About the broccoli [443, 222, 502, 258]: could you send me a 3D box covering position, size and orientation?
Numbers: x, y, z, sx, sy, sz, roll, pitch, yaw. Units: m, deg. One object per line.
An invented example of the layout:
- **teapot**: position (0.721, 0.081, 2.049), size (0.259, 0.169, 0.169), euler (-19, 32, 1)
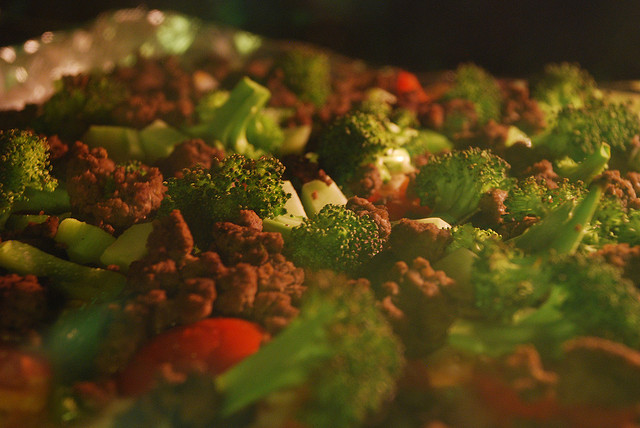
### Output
- **broccoli**: position (0.476, 0.073, 1.916), size (0.121, 0.059, 0.129), euler (9, 41, 16)

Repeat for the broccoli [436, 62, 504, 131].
- **broccoli**: position (0.570, -0.404, 2.280), size (0.218, 0.087, 0.265), euler (-18, 69, -16)

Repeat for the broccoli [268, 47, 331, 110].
- **broccoli**: position (-0.083, -0.538, 2.281), size (0.222, 0.086, 0.234), euler (-43, 93, -4)

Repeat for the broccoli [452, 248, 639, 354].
- **broccoli**: position (0.736, 0.297, 1.994), size (0.463, 0.352, 0.175), euler (-4, 6, -4)

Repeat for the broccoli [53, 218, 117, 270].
- **broccoli**: position (-0.731, 0.078, 1.874), size (0.165, 0.140, 0.077), euler (20, 45, 32)

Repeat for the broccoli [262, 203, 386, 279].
- **broccoli**: position (0.038, 0.078, 1.915), size (0.336, 0.246, 0.172), euler (-14, 48, 31)

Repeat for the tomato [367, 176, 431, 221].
- **tomato**: position (0.274, -0.049, 1.991), size (0.155, 0.082, 0.140), euler (-11, 41, -34)

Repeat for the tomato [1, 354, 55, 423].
- **tomato**: position (-0.887, 0.525, 1.788), size (0.172, 0.187, 0.111), euler (11, 33, -6)

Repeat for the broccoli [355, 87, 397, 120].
- **broccoli**: position (0.193, -0.405, 2.147), size (0.129, 0.046, 0.127), euler (12, 60, -3)

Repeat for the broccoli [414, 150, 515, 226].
- **broccoli**: position (0.467, -0.094, 2.078), size (0.272, 0.280, 0.274), euler (14, -7, -32)

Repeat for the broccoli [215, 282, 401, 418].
- **broccoli**: position (-0.068, 0.468, 1.975), size (0.520, 0.380, 0.270), euler (-22, -1, -15)

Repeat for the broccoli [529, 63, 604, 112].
- **broccoli**: position (0.911, -0.443, 2.261), size (0.214, 0.057, 0.212), euler (34, 69, 4)

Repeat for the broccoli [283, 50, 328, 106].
- **broccoli**: position (-0.067, -0.517, 2.257), size (0.183, 0.202, 0.067), euler (-25, 9, -14)

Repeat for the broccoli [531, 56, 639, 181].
- **broccoli**: position (0.937, -0.347, 2.203), size (0.414, 0.115, 0.410), euler (-19, 68, -2)

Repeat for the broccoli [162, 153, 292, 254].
- **broccoli**: position (-0.289, -0.072, 1.925), size (0.328, 0.159, 0.321), euler (-13, 54, -2)

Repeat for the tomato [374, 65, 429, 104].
- **tomato**: position (0.282, -0.479, 2.265), size (0.212, 0.077, 0.116), euler (39, 47, 6)

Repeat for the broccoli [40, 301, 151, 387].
- **broccoli**: position (-0.639, 0.388, 1.840), size (0.347, 0.098, 0.440), euler (-11, 16, -44)

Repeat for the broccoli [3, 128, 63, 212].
- **broccoli**: position (-0.933, -0.140, 1.934), size (0.239, 0.226, 0.103), euler (-4, -6, -13)

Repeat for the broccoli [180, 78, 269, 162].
- **broccoli**: position (-0.298, -0.335, 2.172), size (0.299, 0.300, 0.222), euler (34, 89, 15)

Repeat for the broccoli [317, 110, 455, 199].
- **broccoli**: position (0.257, -0.152, 2.078), size (0.381, 0.165, 0.266), euler (-17, 51, 0)

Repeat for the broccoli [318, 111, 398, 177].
- **broccoli**: position (0.110, -0.242, 2.031), size (0.239, 0.059, 0.228), euler (10, 74, 18)

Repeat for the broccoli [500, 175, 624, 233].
- **broccoli**: position (0.805, 0.006, 1.958), size (0.225, 0.161, 0.375), euler (-18, 13, -38)
